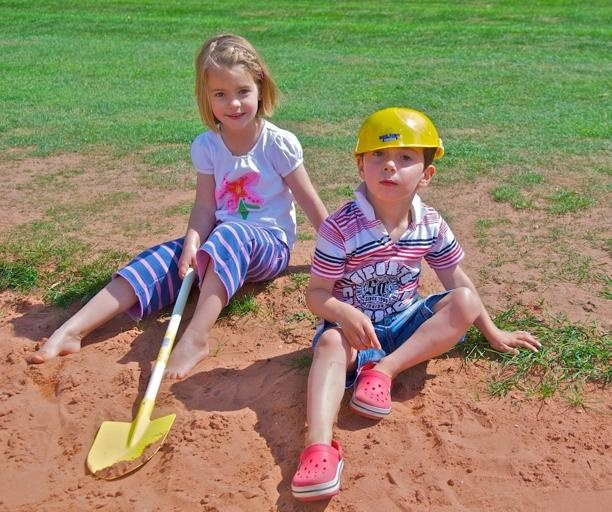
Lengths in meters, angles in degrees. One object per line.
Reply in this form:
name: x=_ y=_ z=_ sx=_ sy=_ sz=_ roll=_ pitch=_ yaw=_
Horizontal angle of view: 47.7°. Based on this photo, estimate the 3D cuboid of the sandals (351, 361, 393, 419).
sandals: x=0.311 y=0.624 z=3.241 sx=0.189 sy=0.130 sz=0.341 roll=12 pitch=17 yaw=-6

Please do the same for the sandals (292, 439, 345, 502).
sandals: x=0.050 y=0.895 z=2.961 sx=0.219 sy=0.129 sz=0.384 roll=-2 pitch=10 yaw=12

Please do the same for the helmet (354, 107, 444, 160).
helmet: x=0.458 y=-0.628 z=3.330 sx=0.402 sy=0.197 sz=0.454 roll=6 pitch=12 yaw=15
